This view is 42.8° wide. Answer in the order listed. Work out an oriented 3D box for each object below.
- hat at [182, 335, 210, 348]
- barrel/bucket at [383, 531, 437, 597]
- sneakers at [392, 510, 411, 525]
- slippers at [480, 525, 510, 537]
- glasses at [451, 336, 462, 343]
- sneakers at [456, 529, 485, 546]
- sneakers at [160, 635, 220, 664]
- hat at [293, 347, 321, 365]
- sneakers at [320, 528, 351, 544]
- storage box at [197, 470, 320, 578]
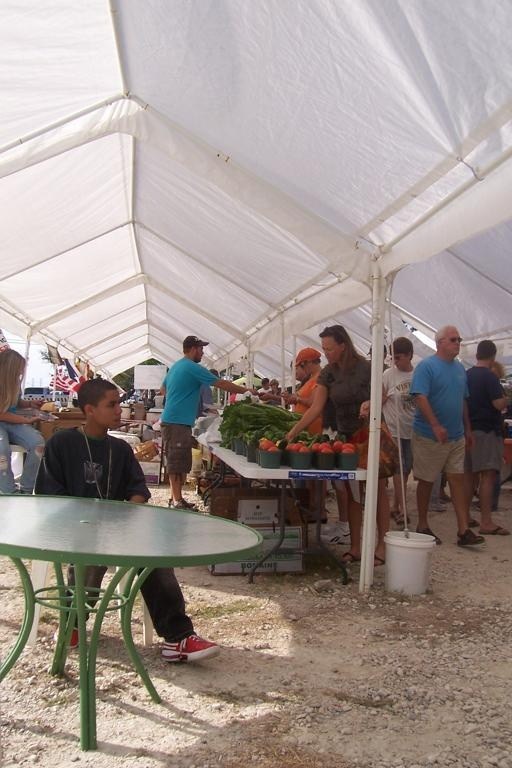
[{"bbox_3d":[-0.627,-0.439,6.830,0.269,0.141,0.157,-2,7,-17],"label":"hat"},{"bbox_3d":[0.944,1.110,4.264,0.392,0.396,0.412,2,1,0],"label":"barrel/bucket"},{"bbox_3d":[1.409,1.286,6.354,0.144,0.100,0.394,-1,-3,1],"label":"sneakers"},{"bbox_3d":[2.077,1.280,5.692,0.233,0.070,0.094,-4,-3,16],"label":"slippers"},{"bbox_3d":[1.569,-0.350,5.169,0.067,0.026,0.081,2,-1,-1],"label":"glasses"},{"bbox_3d":[1.690,1.236,5.250,0.241,0.131,0.121,-12,-9,40],"label":"sneakers"},{"bbox_3d":[-0.303,1.200,2.955,0.297,0.124,0.106,-7,-17,12],"label":"sneakers"},{"bbox_3d":[0.470,-0.265,6.036,0.203,0.112,0.141,0,9,23],"label":"hat"},{"bbox_3d":[0.680,1.300,5.590,0.215,0.103,0.124,3,-2,9],"label":"sneakers"},{"bbox_3d":[0.038,1.041,5.061,0.965,0.623,0.926,0,1,-2],"label":"storage box"}]
